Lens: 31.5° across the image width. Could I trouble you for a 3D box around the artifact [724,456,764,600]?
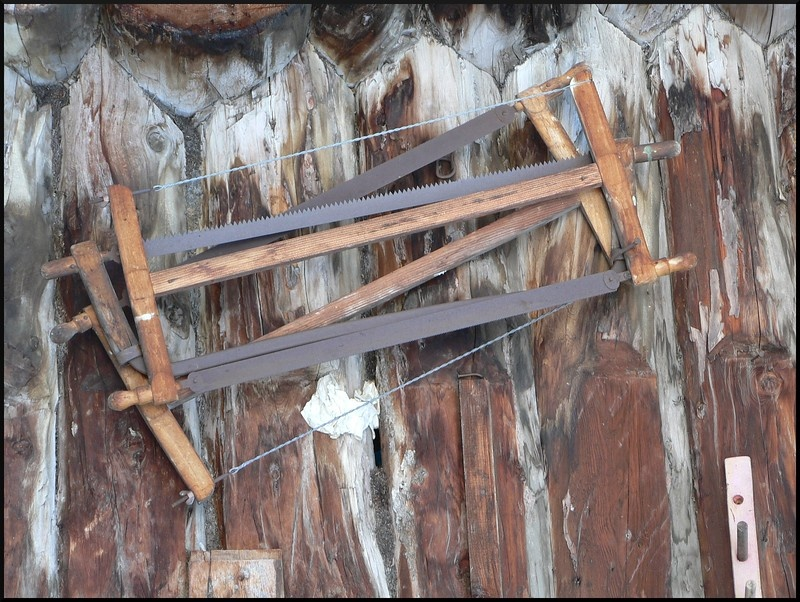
[{"bbox_3d":[1.336,0.874,5.522,0.109,0.518,0.201,-6,9,14],"label":"artifact"}]
